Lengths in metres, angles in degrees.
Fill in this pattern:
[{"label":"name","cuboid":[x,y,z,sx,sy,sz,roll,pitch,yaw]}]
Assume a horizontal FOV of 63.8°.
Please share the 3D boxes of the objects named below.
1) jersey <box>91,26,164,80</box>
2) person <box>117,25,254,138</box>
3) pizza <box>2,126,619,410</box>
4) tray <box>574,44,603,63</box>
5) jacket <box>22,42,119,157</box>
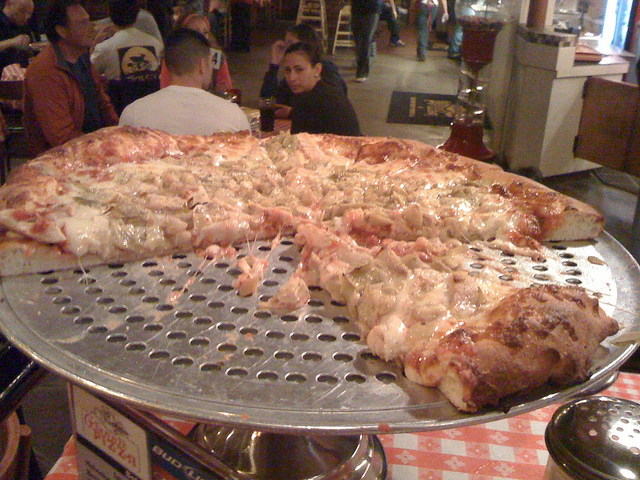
[{"label":"jersey","cuboid":[-1.745,-1.773,4.877,0.720,0.520,0.369,-14,57,-17]},{"label":"person","cuboid":[-0.821,-0.962,3.201,0.834,0.658,0.410,3,17,4]},{"label":"pizza","cuboid":[-0.128,0.198,1.842,1.377,0.156,1.078,6,33,0]},{"label":"tray","cuboid":[2.550,-1.771,4.897,0.289,0.080,0.298,2,37,10]},{"label":"jacket","cuboid":[-1.892,-0.994,3.736,0.490,0.802,0.418,20,31,33]}]
